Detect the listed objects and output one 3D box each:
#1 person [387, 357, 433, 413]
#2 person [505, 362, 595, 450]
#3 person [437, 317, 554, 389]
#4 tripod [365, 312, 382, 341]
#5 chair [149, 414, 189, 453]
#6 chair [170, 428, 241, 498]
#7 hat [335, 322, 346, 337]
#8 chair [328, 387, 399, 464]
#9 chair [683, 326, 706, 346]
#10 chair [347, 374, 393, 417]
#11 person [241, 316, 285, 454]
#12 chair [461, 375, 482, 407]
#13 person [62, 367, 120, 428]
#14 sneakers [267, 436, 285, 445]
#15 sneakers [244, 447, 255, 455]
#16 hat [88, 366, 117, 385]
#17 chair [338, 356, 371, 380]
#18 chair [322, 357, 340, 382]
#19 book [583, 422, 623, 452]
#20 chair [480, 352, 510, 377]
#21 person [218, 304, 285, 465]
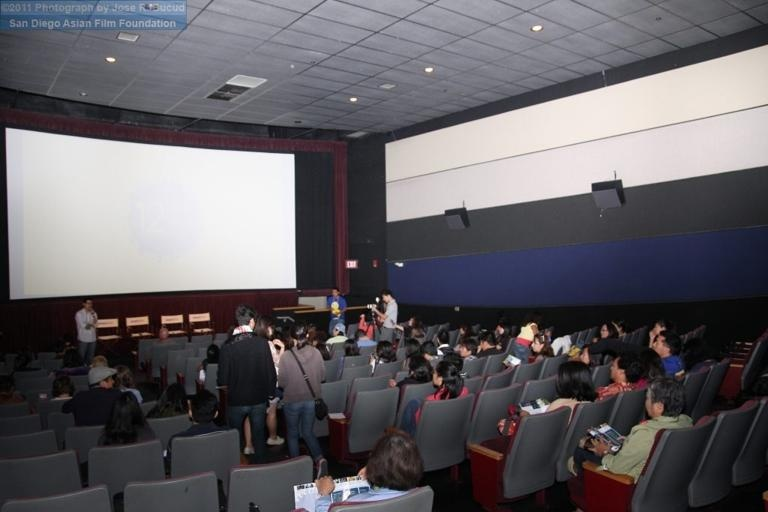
[{"bbox_3d":[0.425,1.598,6.159,0.521,0.725,0.520,1,2,-27],"label":"person"},{"bbox_3d":[1.656,1.519,5.403,0.768,1.102,0.901,1,-2,-33],"label":"person"},{"bbox_3d":[2.163,1.616,7.975,1.013,1.401,1.109,0,-1,-40],"label":"person"},{"bbox_3d":[-0.227,1.743,11.835,0.446,0.668,0.520,-1,1,-1],"label":"tripod"},{"bbox_3d":[-2.347,1.857,5.318,0.356,0.604,0.412,1,0,-27],"label":"chair"},{"bbox_3d":[-1.726,1.919,4.868,0.581,0.769,0.649,1,0,-25],"label":"chair"},{"bbox_3d":[-0.980,1.661,10.982,0.260,0.280,0.348,5,-18,3],"label":"hat"},{"bbox_3d":[-0.256,2.153,6.238,0.890,0.946,0.753,4,-4,-29],"label":"chair"},{"bbox_3d":[5.465,1.390,8.462,0.361,0.143,0.108,-13,20,-31],"label":"chair"},{"bbox_3d":[-0.210,1.806,6.401,0.444,0.614,0.505,2,-2,-21],"label":"chair"},{"bbox_3d":[-1.699,1.811,6.872,0.679,1.882,0.613,2,4,1],"label":"person"},{"bbox_3d":[1.177,1.678,6.218,0.200,0.264,0.217,1,0,-30],"label":"chair"},{"bbox_3d":[-3.389,1.656,5.622,0.384,0.794,0.273,12,15,-3],"label":"person"},{"bbox_3d":[-1.540,2.624,6.916,0.225,0.102,0.104,1,-5,-17],"label":"sneakers"},{"bbox_3d":[-1.838,2.654,6.671,0.082,0.096,0.208,0,0,4],"label":"sneakers"},{"bbox_3d":[-3.407,1.426,5.900,0.200,0.144,0.272,1,16,27],"label":"hat"},{"bbox_3d":[-0.434,1.681,7.284,0.281,0.467,0.334,0,0,-31],"label":"chair"},{"bbox_3d":[-0.811,1.789,7.674,0.343,0.443,0.365,0,3,-11],"label":"chair"},{"bbox_3d":[2.210,1.779,4.733,0.233,0.084,0.232,-19,36,-16],"label":"book"},{"bbox_3d":[1.758,1.690,7.605,0.331,0.453,0.371,-1,2,-27],"label":"chair"},{"bbox_3d":[-1.672,1.577,5.925,0.669,1.765,0.301,-3,1,-19],"label":"person"}]
